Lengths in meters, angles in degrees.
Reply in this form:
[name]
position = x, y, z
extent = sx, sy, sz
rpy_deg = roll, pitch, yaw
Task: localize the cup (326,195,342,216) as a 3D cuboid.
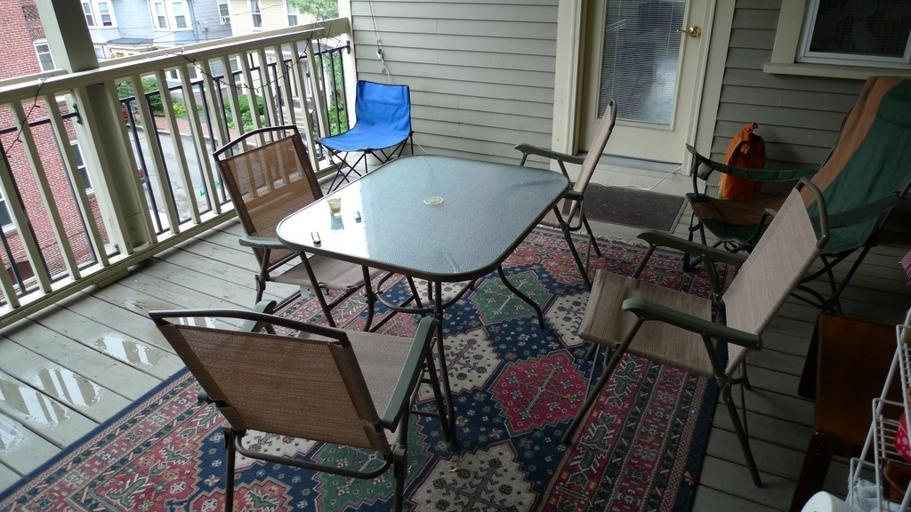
[cup]
position = -0.806, -0.339, 3.934
extent = 0.129, 0.121, 0.120
rpy_deg = -1, 18, 0
